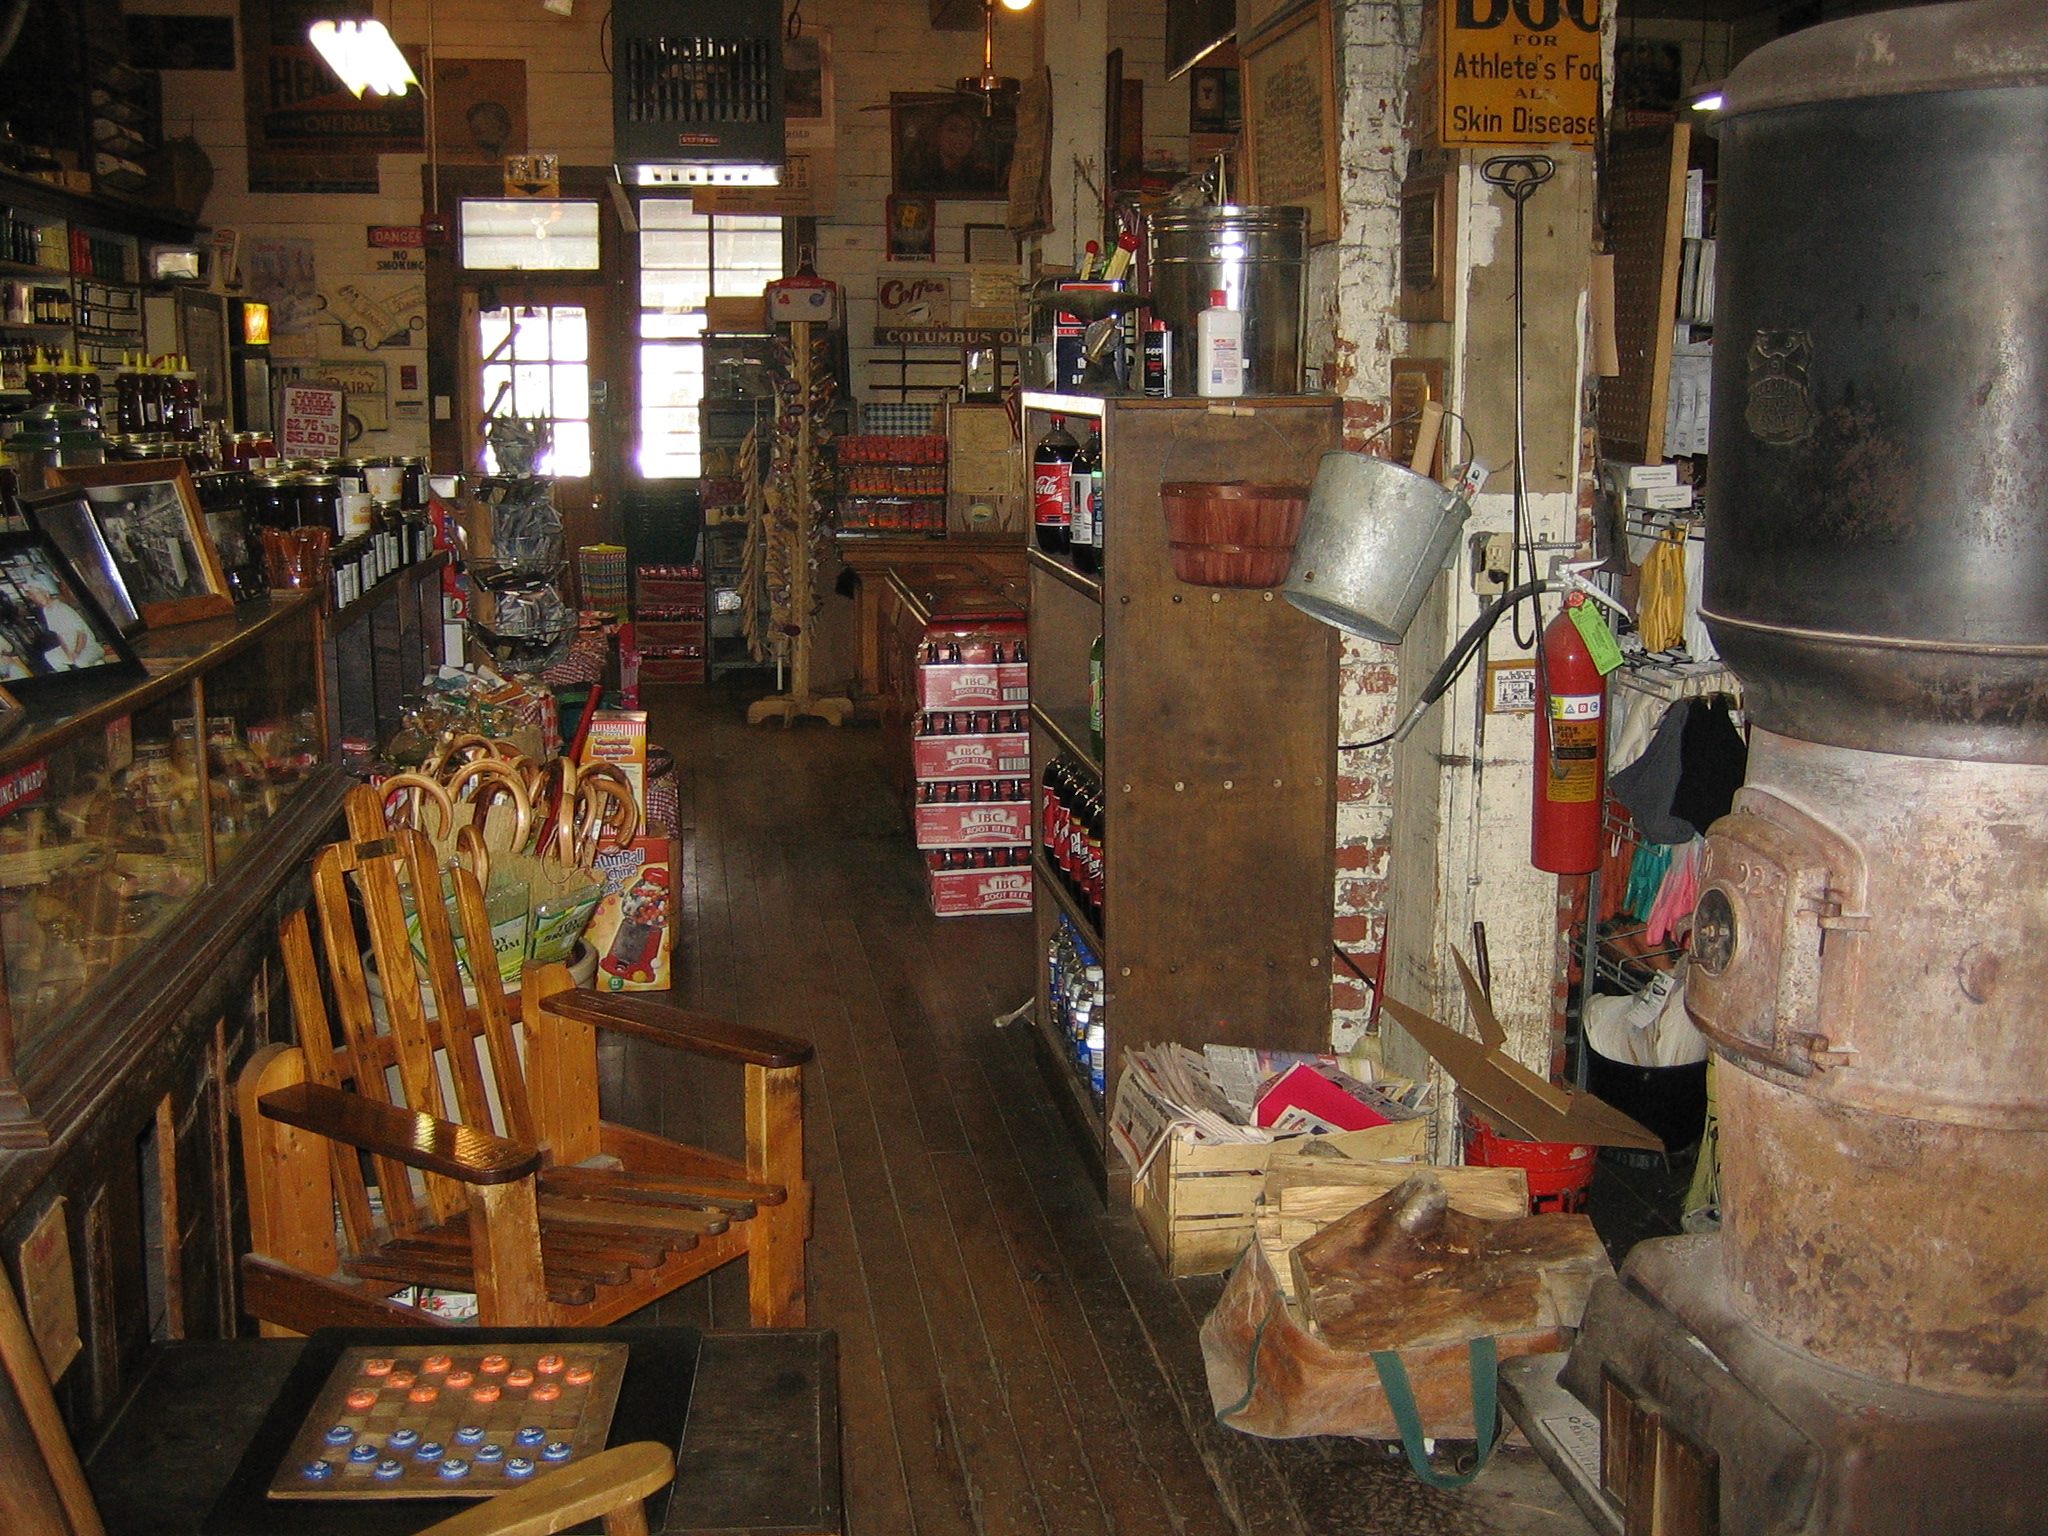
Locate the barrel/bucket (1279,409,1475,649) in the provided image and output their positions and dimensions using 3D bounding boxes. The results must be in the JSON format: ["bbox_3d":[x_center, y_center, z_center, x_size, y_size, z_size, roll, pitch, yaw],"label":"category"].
[{"bbox_3d":[0.765,-0.479,3.581,0.381,0.404,0.130,3,14,17],"label":"barrel/bucket"}]

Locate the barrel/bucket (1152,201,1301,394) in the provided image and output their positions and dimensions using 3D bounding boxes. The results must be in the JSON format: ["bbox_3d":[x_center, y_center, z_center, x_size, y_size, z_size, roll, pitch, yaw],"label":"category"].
[{"bbox_3d":[0.537,-1.224,4.301,0.417,0.502,0.440,-1,14,0],"label":"barrel/bucket"}]

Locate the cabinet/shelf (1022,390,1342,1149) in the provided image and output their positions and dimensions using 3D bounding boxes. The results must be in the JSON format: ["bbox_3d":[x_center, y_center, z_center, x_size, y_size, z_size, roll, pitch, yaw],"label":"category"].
[{"bbox_3d":[0.438,0.012,4.214,0.632,2.191,1.883,1,8,-2],"label":"cabinet/shelf"}]

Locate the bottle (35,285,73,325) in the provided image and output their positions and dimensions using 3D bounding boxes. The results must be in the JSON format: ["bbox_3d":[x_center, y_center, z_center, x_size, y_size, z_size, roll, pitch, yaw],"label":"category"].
[{"bbox_3d":[-5.789,-2.755,9.778,0.195,0.245,0.604,-8,16,-25],"label":"bottle"}]

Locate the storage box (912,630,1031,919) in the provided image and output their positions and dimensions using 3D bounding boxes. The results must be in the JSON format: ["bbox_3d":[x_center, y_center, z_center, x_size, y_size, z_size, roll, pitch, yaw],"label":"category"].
[{"bbox_3d":[-0.203,0.020,6.932,0.527,1.083,1.080,0,4,-5],"label":"storage box"}]

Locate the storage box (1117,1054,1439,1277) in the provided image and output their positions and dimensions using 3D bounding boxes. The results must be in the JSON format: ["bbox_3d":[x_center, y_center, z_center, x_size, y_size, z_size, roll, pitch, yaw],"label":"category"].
[{"bbox_3d":[0.604,0.882,4.020,0.558,0.375,0.575,2,12,-13],"label":"storage box"}]

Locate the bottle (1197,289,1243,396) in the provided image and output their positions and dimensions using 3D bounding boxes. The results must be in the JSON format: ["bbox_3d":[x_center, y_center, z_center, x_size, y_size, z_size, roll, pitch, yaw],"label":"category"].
[{"bbox_3d":[0.494,-1.043,4.048,0.120,0.254,0.148,1,14,7],"label":"bottle"}]

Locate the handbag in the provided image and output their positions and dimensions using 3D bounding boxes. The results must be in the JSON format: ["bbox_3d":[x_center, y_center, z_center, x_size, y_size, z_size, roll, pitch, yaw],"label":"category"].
[{"bbox_3d":[0.770,1.091,3.252,0.681,0.290,0.492,-4,49,6],"label":"handbag"}]

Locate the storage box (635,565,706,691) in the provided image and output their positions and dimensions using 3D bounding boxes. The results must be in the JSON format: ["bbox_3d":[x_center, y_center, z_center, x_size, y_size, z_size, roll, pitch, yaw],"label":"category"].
[{"bbox_3d":[-2.538,-1.016,11.866,0.494,0.827,0.308,-3,14,-6],"label":"storage box"}]
